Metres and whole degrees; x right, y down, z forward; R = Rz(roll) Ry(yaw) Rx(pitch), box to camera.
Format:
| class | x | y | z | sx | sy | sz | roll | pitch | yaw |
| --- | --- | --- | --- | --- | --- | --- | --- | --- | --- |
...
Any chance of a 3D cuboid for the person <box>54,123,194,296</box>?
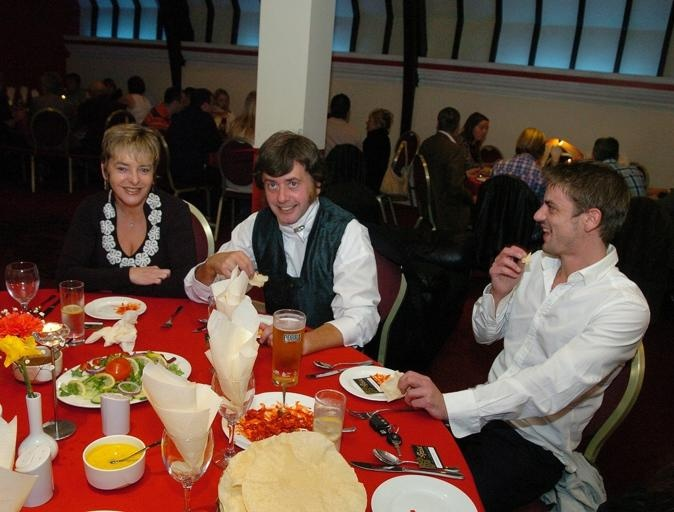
| class | x | y | z | sx | sy | sz | roll | pitch | yaw |
| --- | --- | --- | --- | --- | --- | --- | --- | --- | --- |
| person | -0.887 | -0.151 | 2.316 | 0.549 | 0.787 | 0.524 | 7 | 20 | -4 |

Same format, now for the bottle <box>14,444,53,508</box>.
| class | x | y | z | sx | sy | sz | roll | pitch | yaw |
| --- | --- | --- | --- | --- | --- | --- | --- | --- | --- |
| bottle | -0.657 | 0.468 | 1.125 | 0.068 | 0.097 | 0.094 | -6 | 22 | -31 |

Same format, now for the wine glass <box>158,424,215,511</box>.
| class | x | y | z | sx | sy | sz | roll | pitch | yaw |
| --- | --- | --- | --- | --- | --- | --- | --- | --- | --- |
| wine glass | -0.328 | 0.441 | 1.138 | 0.105 | 0.200 | 0.162 | 0 | 19 | -15 |

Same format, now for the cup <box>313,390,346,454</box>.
| class | x | y | z | sx | sy | sz | roll | pitch | yaw |
| --- | --- | --- | --- | --- | --- | --- | --- | --- | --- |
| cup | -0.023 | 0.404 | 1.301 | 0.108 | 0.143 | 0.115 | 5 | 10 | -1 |

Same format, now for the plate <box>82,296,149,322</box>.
| class | x | y | z | sx | sy | sz | roll | pitch | yaw |
| --- | --- | --- | --- | --- | --- | --- | --- | --- | --- |
| plate | -0.816 | 0.184 | 1.878 | 0.129 | 0.015 | 0.133 | -1 | 21 | -31 |

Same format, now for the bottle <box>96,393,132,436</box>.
| class | x | y | z | sx | sy | sz | roll | pitch | yaw |
| --- | --- | --- | --- | --- | --- | --- | --- | --- | --- |
| bottle | -0.560 | 0.411 | 1.303 | 0.077 | 0.125 | 0.071 | 9 | 22 | -4 |

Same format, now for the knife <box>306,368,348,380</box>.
| class | x | y | z | sx | sy | sz | roll | pitch | yaw |
| --- | --- | --- | --- | --- | --- | --- | --- | --- | --- |
| knife | -0.032 | 0.365 | 1.607 | 0.084 | 0.002 | 0.014 | -9 | 35 | -30 |

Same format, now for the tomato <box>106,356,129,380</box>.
| class | x | y | z | sx | sy | sz | roll | pitch | yaw |
| --- | --- | --- | --- | --- | --- | --- | --- | --- | --- |
| tomato | -0.614 | 0.315 | 1.455 | 0.056 | 0.064 | 0.057 | -2 | 0 | 0 |

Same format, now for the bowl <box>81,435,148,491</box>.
| class | x | y | z | sx | sy | sz | roll | pitch | yaw |
| --- | --- | --- | --- | --- | --- | --- | --- | --- | --- |
| bowl | -0.514 | 0.472 | 1.188 | 0.119 | 0.064 | 0.127 | 12 | 13 | -3 |
